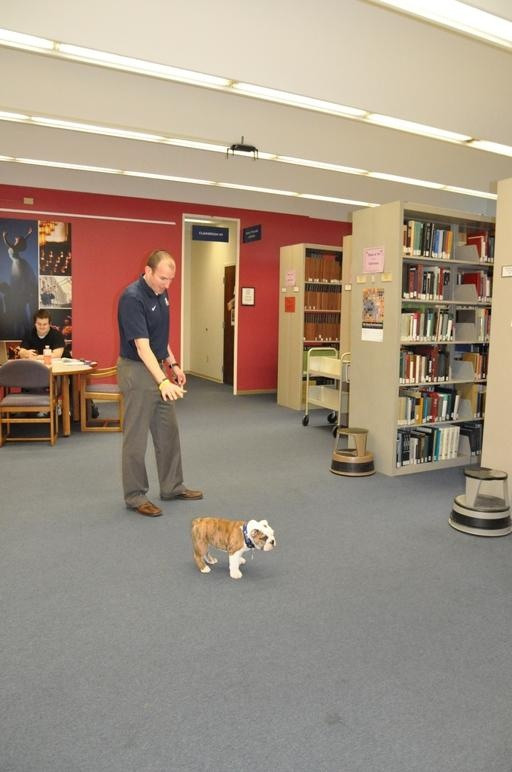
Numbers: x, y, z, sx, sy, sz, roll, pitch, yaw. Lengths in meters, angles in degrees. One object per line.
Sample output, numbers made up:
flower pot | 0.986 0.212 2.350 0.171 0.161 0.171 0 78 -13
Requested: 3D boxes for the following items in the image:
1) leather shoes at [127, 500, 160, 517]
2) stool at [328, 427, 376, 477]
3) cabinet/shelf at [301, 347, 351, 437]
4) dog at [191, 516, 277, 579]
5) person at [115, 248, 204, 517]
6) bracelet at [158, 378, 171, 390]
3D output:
leather shoes | -0.731 0.819 3.671 0.211 0.061 0.099 4 5 41
stool | 0.841 0.585 4.909 0.380 0.376 0.391 0 6 -10
cabinet/shelf | 0.875 0.073 6.841 0.533 1.093 1.051 0 5 -17
dog | -0.119 0.788 2.729 0.398 0.290 0.178 6 11 11
person | -0.656 0.072 3.591 0.480 1.589 0.842 -1 5 -8
bracelet | -0.533 -0.007 3.228 0.063 0.050 0.072 -30 -15 -18
